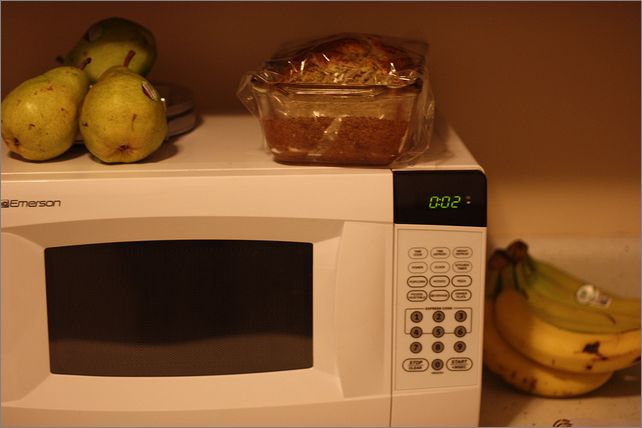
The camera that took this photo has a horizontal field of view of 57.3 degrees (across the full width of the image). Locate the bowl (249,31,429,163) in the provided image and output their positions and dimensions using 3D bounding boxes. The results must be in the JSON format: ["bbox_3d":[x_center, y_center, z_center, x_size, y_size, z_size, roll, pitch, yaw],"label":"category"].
[{"bbox_3d":[0.034,-0.170,0.914,0.210,0.128,0.254,1,12,3],"label":"bowl"}]

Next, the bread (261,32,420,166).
[{"bbox_3d":[0.026,-0.189,0.964,0.360,0.174,0.327,1,12,8],"label":"bread"}]
